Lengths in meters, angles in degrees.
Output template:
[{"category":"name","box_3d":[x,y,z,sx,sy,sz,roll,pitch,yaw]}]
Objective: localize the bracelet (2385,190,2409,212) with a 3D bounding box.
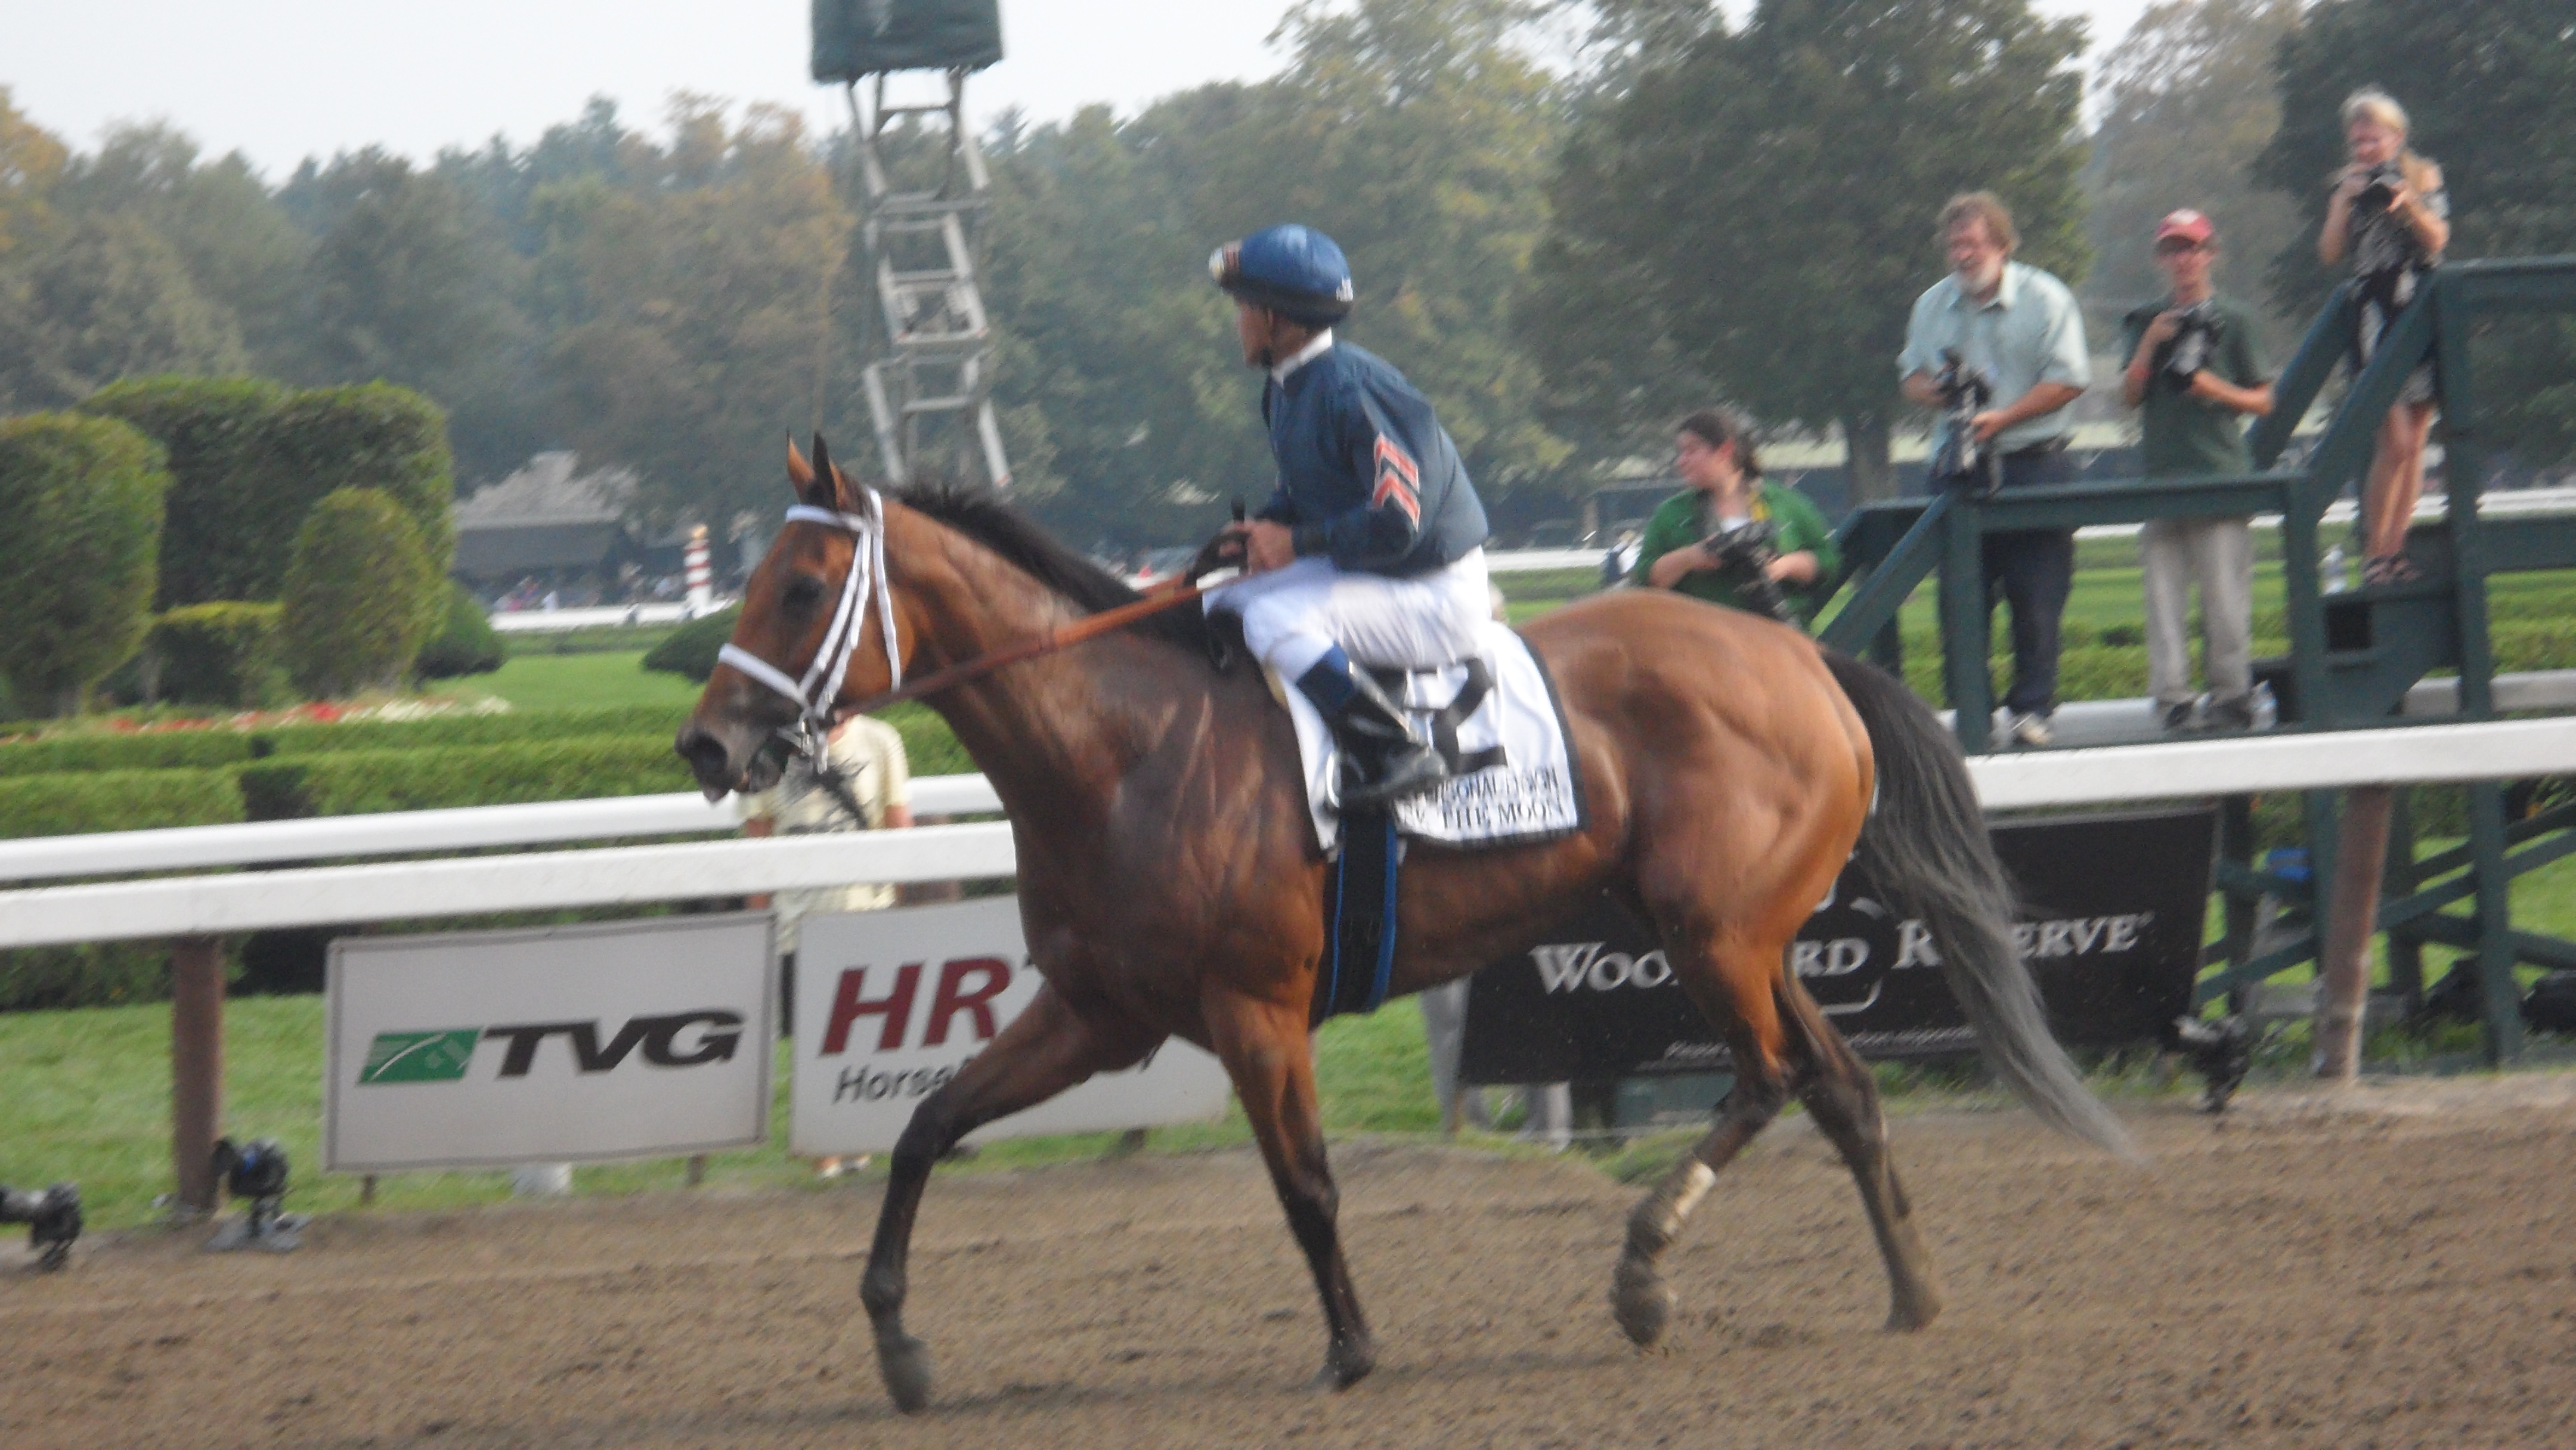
[{"category":"bracelet","box_3d":[9.766,-4.603,35.545,0.166,0.079,0.283,1,-29,6]}]

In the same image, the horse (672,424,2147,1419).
[{"category":"horse","box_3d":[1.273,1.809,35.280,13.270,7.512,3.189,0,-6,-19]}]

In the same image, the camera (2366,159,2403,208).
[{"category":"camera","box_3d":[9.643,-4.747,35.569,0.325,0.387,0.190,2,-9,-3]}]
